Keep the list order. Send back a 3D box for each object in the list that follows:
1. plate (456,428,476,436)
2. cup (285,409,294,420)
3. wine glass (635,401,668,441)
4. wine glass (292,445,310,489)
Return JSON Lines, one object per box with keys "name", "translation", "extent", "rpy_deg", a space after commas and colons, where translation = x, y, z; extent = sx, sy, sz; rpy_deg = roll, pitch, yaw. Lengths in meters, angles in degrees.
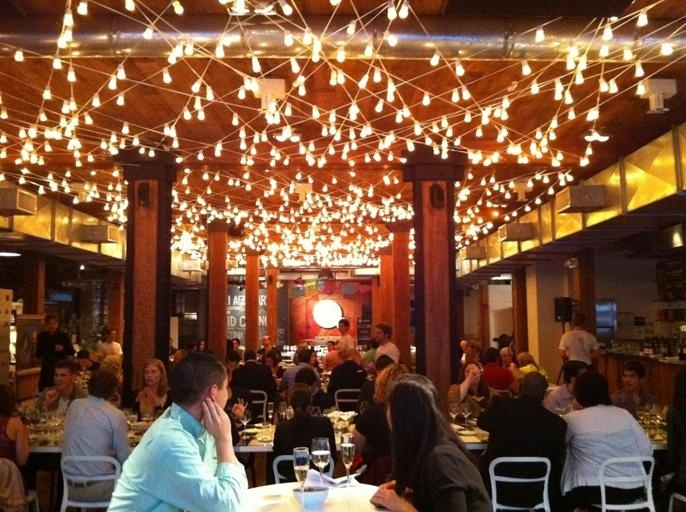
{"name": "plate", "translation": [1.254, 1.793, 6.392], "extent": [0.167, 0.040, 0.271], "rpy_deg": [-1, -8, 7]}
{"name": "cup", "translation": [-0.545, 1.617, 6.391], "extent": [0.062, 0.099, 0.274], "rpy_deg": [1, -8, -9]}
{"name": "wine glass", "translation": [3.167, 1.675, 6.364], "extent": [0.281, 0.294, 0.304], "rpy_deg": [-1, 0, 13]}
{"name": "wine glass", "translation": [-0.264, 1.340, 3.983], "extent": [0.089, 0.251, 0.208], "rpy_deg": [1, -7, -6]}
